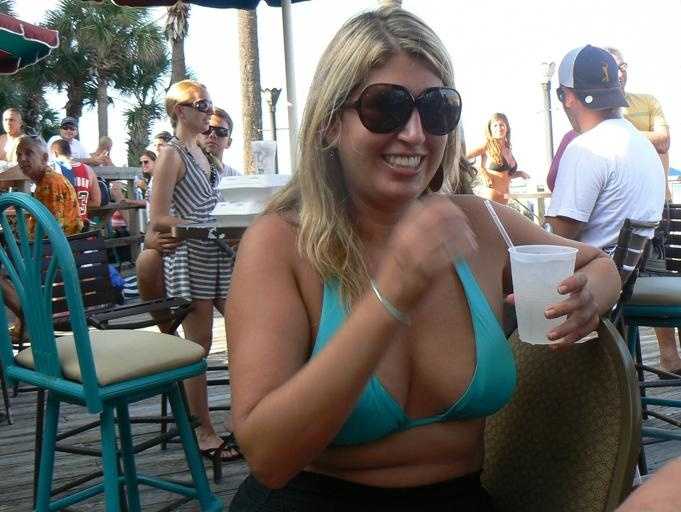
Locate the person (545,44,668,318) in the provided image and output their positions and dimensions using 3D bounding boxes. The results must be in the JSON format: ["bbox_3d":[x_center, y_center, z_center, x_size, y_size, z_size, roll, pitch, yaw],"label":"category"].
[{"bbox_3d":[1.643,-0.526,3.814,0.806,1.620,0.771,-6,10,-29],"label":"person"}]

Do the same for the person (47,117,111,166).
[{"bbox_3d":[-4.399,-1.908,10.208,0.958,1.013,1.274,-7,13,-36],"label":"person"}]

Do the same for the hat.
[{"bbox_3d":[1.547,-1.097,3.683,0.269,0.256,0.448,-13,43,-8],"label":"hat"}]

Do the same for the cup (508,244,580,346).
[{"bbox_3d":[0.490,0.099,1.620,0.225,0.317,0.223,0,-2,0],"label":"cup"}]

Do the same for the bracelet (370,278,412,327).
[{"bbox_3d":[0.101,0.103,1.214,0.020,0.088,0.070,-37,-1,-4],"label":"bracelet"}]
